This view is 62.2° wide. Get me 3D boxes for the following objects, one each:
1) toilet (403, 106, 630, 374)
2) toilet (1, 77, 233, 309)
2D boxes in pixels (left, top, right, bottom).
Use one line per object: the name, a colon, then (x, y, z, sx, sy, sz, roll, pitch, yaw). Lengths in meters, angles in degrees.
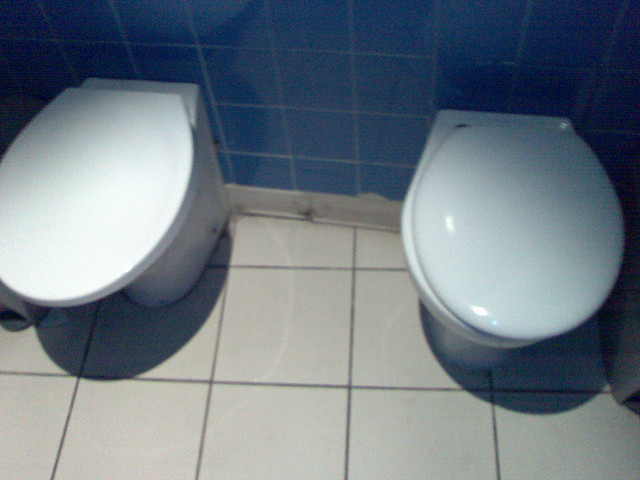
toilet: (0.505, 0.006, 1.444, 0.486, 0.620, 0.649, 1, 66, 4)
toilet: (-0.454, -0.093, 1.533, 0.518, 0.507, 0.691, 2, 66, 6)
